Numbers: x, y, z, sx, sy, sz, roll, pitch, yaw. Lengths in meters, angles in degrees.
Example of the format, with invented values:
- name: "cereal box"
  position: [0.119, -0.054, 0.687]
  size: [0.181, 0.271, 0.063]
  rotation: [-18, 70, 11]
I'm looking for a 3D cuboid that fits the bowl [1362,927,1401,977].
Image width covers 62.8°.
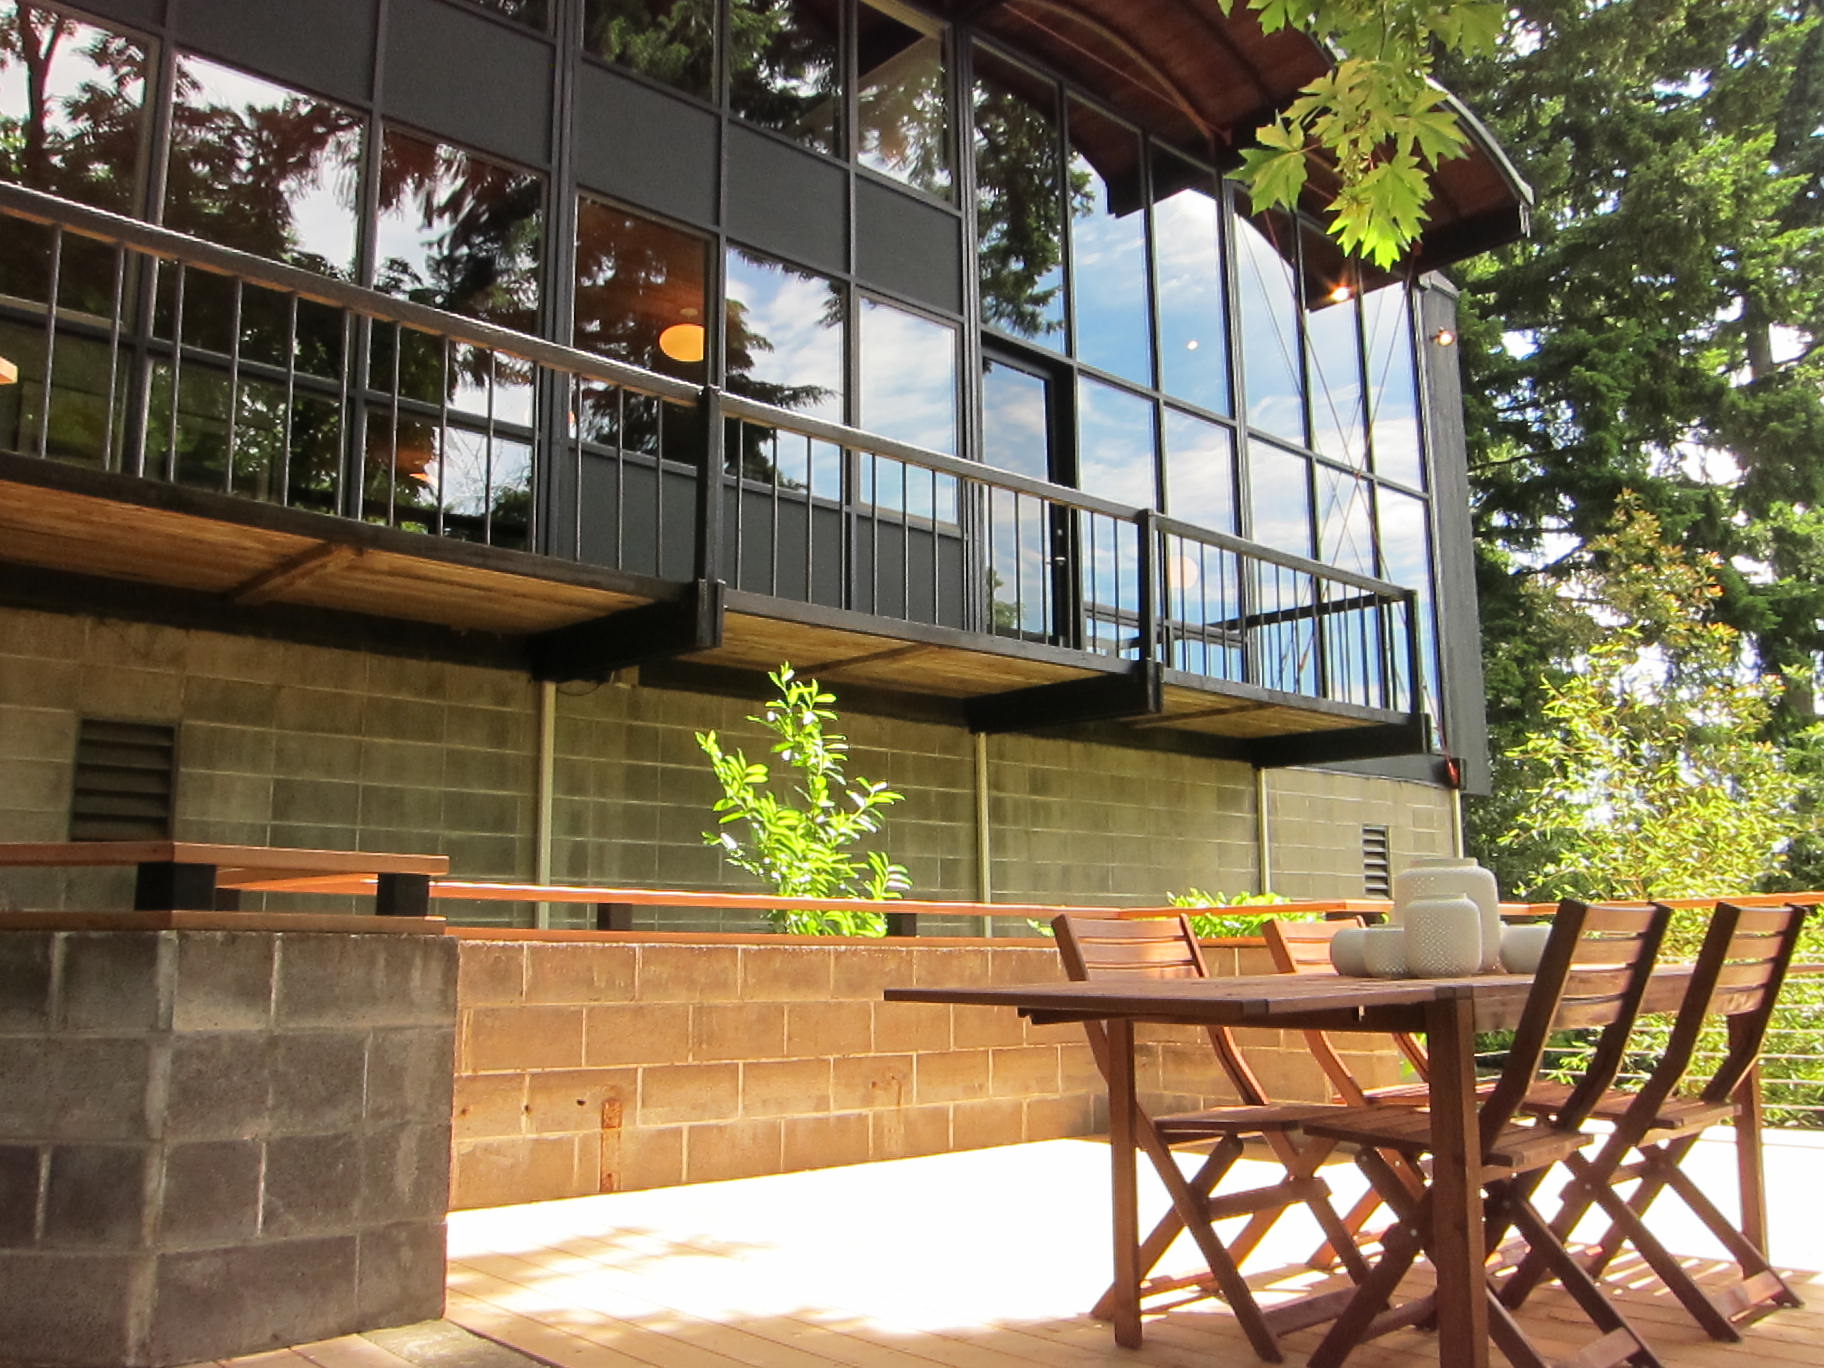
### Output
- name: "bowl"
  position: [1.310, 0.741, 4.141]
  size: [0.132, 0.120, 0.127]
  rotation: [-1, -7, 0]

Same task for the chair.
- name: "chair"
  position: [1.314, 1.142, 3.812]
  size: [2.214, 1.188, 1.267]
  rotation: [0, -7, -1]

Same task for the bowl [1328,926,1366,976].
- name: "bowl"
  position: [1.247, 0.773, 4.342]
  size: [0.130, 0.112, 0.126]
  rotation: [7, -2, 0]
